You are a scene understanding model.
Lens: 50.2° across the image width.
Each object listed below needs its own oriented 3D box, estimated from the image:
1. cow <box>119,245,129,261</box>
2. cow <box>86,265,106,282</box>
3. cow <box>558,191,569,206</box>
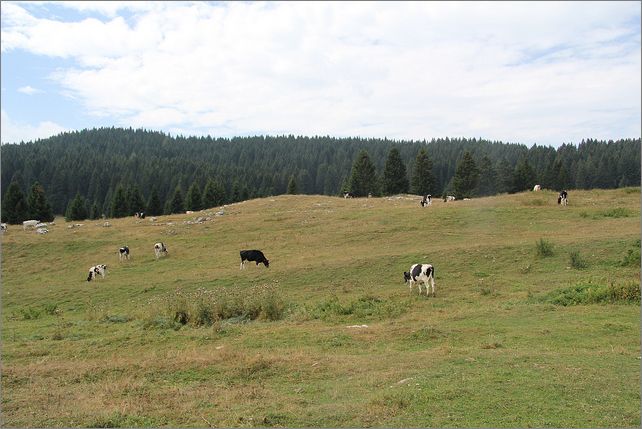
[{"bbox_3d":[-23.949,4.752,82.719,1.273,1.643,2.086,-4,1,-16],"label":"cow"},{"bbox_3d":[-25.094,6.497,75.953,1.899,1.796,2.264,-3,2,41],"label":"cow"},{"bbox_3d":[30.192,-1.977,84.733,0.866,1.507,2.861,4,7,20],"label":"cow"}]
